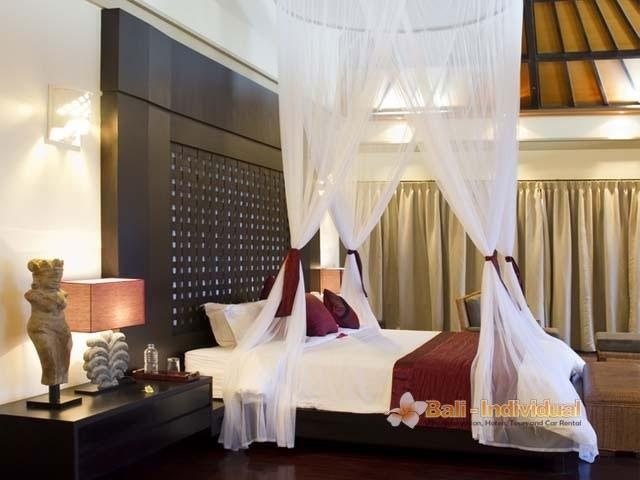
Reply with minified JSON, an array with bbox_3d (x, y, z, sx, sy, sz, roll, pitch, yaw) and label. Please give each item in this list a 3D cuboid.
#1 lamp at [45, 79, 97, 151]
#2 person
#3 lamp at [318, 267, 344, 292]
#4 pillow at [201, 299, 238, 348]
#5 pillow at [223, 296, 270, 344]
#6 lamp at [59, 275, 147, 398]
[{"bbox_3d":[-1.687,-0.861,3.505,0.226,0.463,0.324,21,13,10],"label":"lamp"},{"bbox_3d":[-1.651,0.502,3.081,0.235,0.767,0.175,-3,6,-25],"label":"person"},{"bbox_3d":[0.159,0.479,6.498,0.323,0.380,0.261,-1,-3,22],"label":"lamp"},{"bbox_3d":[-0.869,0.741,4.385,0.100,0.384,0.315,-8,3,-23],"label":"pillow"},{"bbox_3d":[-0.623,0.640,4.333,0.290,0.325,0.088,-18,-15,-37],"label":"pillow"},{"bbox_3d":[-1.446,0.613,3.455,0.225,0.766,0.429,10,10,29],"label":"lamp"}]
